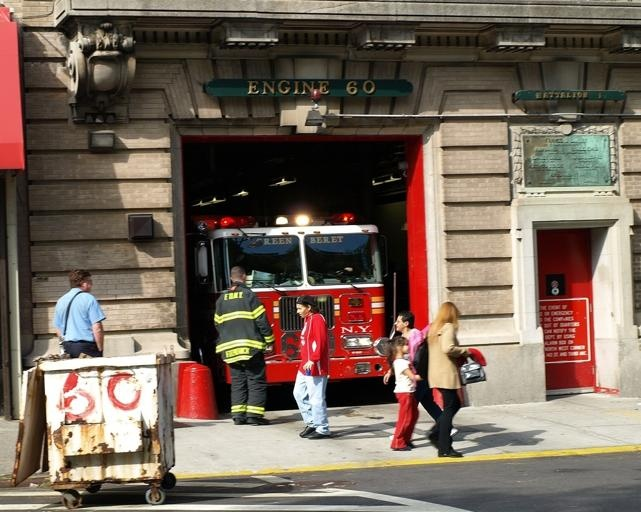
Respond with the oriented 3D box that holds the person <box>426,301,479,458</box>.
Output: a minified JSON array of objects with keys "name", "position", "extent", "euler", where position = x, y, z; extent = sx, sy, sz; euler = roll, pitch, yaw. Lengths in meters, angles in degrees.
[{"name":"person","position":[1.724,1.668,17.879],"extent":[0.885,1.969,0.802],"euler":[-2,-4,-12]}]

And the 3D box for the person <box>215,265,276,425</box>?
[{"name":"person","position":[-1.168,1.357,19.888],"extent":[0.896,2.358,0.377],"euler":[-4,-3,1]}]

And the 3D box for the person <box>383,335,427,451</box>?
[{"name":"person","position":[1.111,1.877,17.991],"extent":[0.462,1.548,0.524],"euler":[-4,-3,2]}]

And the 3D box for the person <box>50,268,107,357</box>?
[{"name":"person","position":[-3.214,0.770,17.398],"extent":[0.751,1.122,0.338],"euler":[-5,-3,35]}]

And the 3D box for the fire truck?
[{"name":"fire truck","position":[-0.437,0.705,22.306],"extent":[3.523,2.519,2.884],"euler":[1,0,-16]}]
